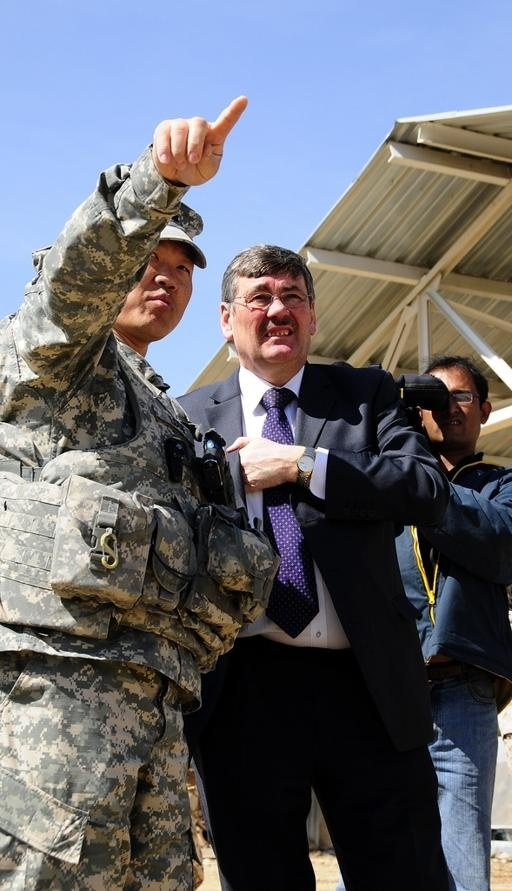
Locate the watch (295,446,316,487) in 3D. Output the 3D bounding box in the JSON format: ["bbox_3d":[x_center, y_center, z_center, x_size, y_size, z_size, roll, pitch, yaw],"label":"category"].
[{"bbox_3d":[0.150,0.057,2.513,0.071,0.108,0.104,11,-18,6],"label":"watch"}]

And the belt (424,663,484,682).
[{"bbox_3d":[0.792,0.913,3.383,0.166,0.054,0.120,-3,-25,6],"label":"belt"}]
